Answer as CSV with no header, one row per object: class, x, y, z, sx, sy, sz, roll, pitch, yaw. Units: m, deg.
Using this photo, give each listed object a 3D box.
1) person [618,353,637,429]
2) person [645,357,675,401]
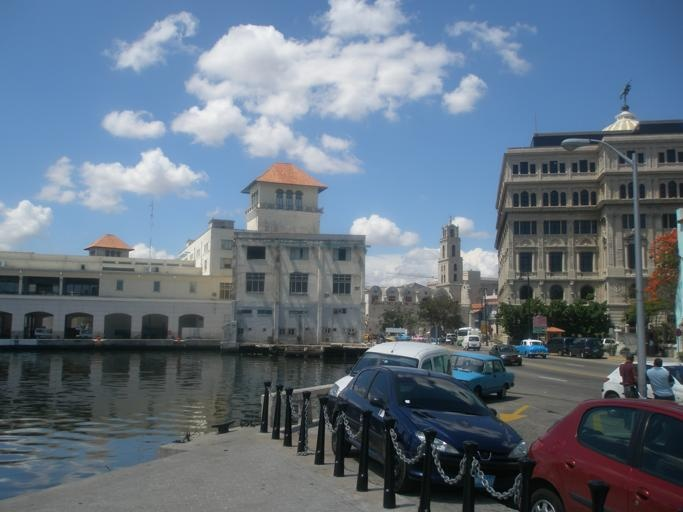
person,10.175,4.238,26.596,0.578,1.445,1.153,-3,-8,19
person,10.758,4.128,25.338,0.860,1.340,1.169,-3,-8,22
